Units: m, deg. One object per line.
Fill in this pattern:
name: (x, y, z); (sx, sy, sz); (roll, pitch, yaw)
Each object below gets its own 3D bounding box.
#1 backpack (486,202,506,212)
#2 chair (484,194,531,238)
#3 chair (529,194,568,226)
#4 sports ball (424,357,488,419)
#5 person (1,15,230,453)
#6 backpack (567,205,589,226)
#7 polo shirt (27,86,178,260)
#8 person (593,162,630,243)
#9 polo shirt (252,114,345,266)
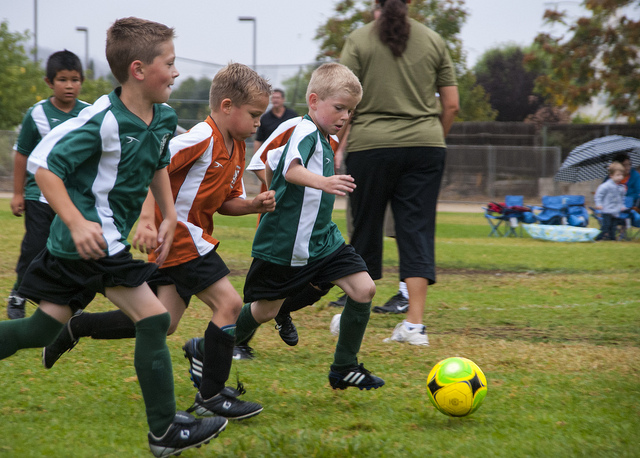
backpack: (3.344, -0.390, 12.750); (0.292, 0.170, 0.592); (2, 8, 2)
chair: (3.539, -0.246, 12.783); (0.644, 0.672, 0.797); (-4, 11, -34)
chair: (4.396, -0.360, 12.609); (0.632, 0.255, 0.661); (8, 27, 33)
sports ball: (0.718, 0.848, 3.586); (0.351, 0.325, 0.312); (-1, -31, 7)
person: (-0.993, 0.002, 3.149); (0.951, 2.055, 0.720); (-2, 10, -25)
backpack: (4.788, -0.232, 12.454); (0.424, 0.429, 0.266); (-2, -20, -39)
polo shirt: (-1.078, -0.295, 3.280); (0.420, 0.815, 0.619); (6, 10, 24)
person: (5.189, -0.471, 11.878); (0.499, 1.394, 0.847); (10, 12, 39)
polo shirt: (-0.125, -0.230, 3.930); (0.546, 0.895, 0.406); (1, 9, -6)
